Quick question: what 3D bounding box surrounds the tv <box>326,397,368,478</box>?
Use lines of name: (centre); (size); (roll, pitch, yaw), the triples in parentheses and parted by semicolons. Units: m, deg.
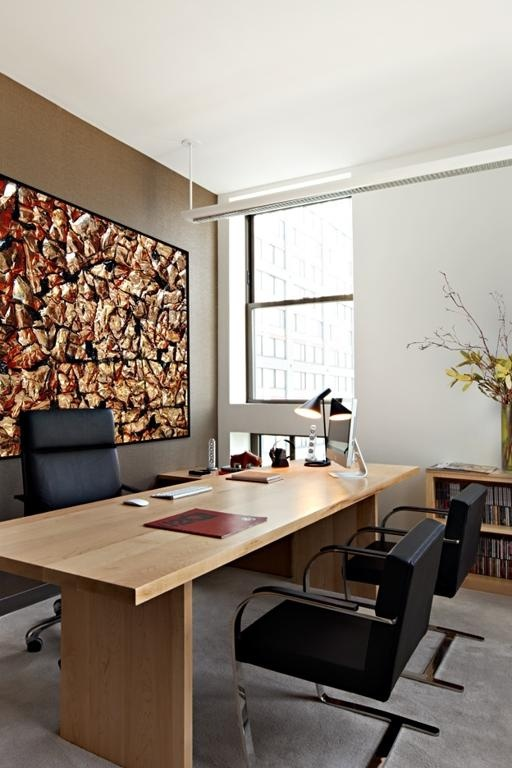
tv: (0.516, 0.311, 3.052); (0.150, 0.402, 0.399); (3, -7, -10)

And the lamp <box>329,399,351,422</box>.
lamp: (0.453, 0.142, 2.801); (0.107, 0.122, 0.116); (-4, 5, -21)

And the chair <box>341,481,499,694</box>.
chair: (0.682, 0.775, 2.413); (0.714, 1.068, 0.677); (0, -4, 27)

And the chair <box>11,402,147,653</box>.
chair: (-0.784, 0.646, 2.494); (0.654, 1.033, 0.671); (1, -1, 13)
